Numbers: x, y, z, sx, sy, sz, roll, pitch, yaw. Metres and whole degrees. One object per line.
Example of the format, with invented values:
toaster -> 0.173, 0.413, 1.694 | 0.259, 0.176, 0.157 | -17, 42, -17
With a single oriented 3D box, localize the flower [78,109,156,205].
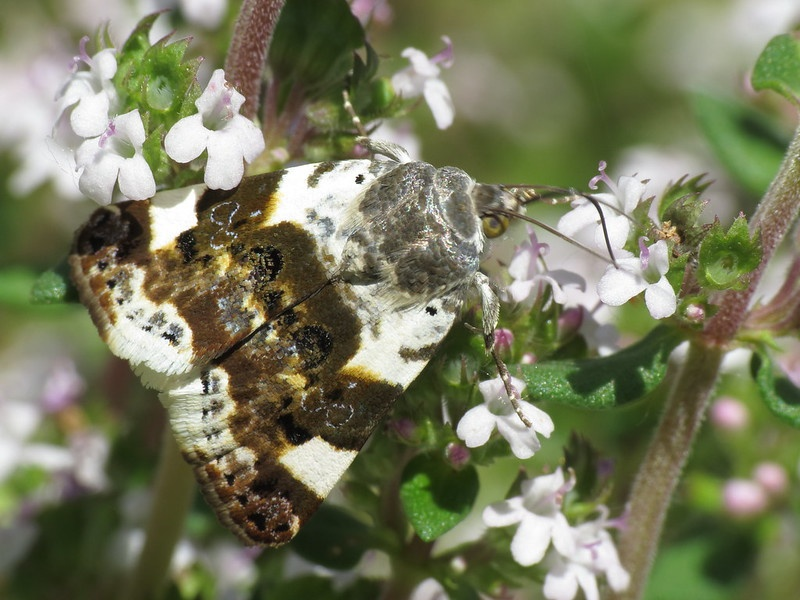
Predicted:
flower -> -0.900, -0.423, 2.907 | 0.258, 0.177, 0.279 | -11, 81, -2

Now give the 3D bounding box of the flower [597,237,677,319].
flower -> 0.719, -0.056, 2.746 | 0.247, 0.104, 0.236 | 8, 80, 20

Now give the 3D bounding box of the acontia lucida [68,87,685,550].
acontia lucida -> -0.197, 0.049, 3.477 | 1.662, 0.509, 1.220 | -30, 81, -7

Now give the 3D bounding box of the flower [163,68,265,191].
flower -> -0.558, -0.512, 2.875 | 0.287, 0.113, 0.379 | 11, 77, -7

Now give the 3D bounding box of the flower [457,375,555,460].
flower -> 0.316, 0.370, 2.800 | 0.219, 0.336, 0.288 | 6, 102, 19

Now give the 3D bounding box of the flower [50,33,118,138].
flower -> -1.000, -0.657, 2.944 | 0.158, 0.167, 0.412 | -1, 112, 4
